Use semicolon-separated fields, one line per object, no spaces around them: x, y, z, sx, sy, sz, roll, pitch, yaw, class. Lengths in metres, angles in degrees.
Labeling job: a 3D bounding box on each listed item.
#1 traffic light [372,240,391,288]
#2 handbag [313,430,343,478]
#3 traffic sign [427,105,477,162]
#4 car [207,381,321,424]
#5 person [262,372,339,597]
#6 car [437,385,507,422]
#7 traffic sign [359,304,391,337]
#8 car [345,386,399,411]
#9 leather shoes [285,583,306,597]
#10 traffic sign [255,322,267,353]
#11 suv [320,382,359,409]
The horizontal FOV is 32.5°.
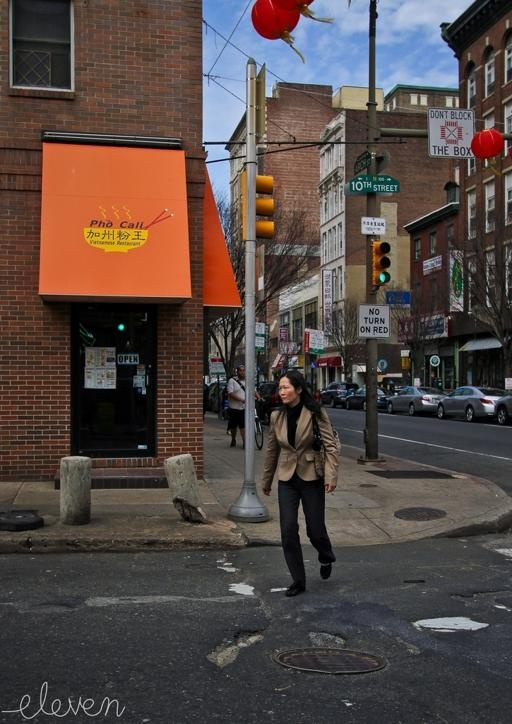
2.087;-1.675;14.765;0.300;0.825;1.112;-3;-2;8;traffic light
0.525;0.629;6.270;0.164;0.337;0.226;2;6;10;handbag
3.140;-3.676;14.145;0.715;0.858;0.841;-3;-2;14;traffic sign
0.189;1.506;25.058;1.775;1.650;3.945;0;4;-18;car
0.333;0.845;6.334;0.529;1.545;0.645;-2;-2;-5;person
7.356;1.474;29.877;1.198;0.906;2.681;1;0;-9;car
2.005;-0.710;15.254;0.540;0.564;0.569;2;4;-9;traffic sign
5.213;1.778;40.944;1.420;1.294;2.985;0;2;-17;car
0.272;1.562;6.054;0.058;0.074;0.173;-9;-17;29;leather shoes
0.144;-0.749;27.380;0.198;1.175;1.232;-2;-2;12;traffic sign
4.489;1.833;47.277;1.367;1.159;3.122;-1;4;-14;suv
